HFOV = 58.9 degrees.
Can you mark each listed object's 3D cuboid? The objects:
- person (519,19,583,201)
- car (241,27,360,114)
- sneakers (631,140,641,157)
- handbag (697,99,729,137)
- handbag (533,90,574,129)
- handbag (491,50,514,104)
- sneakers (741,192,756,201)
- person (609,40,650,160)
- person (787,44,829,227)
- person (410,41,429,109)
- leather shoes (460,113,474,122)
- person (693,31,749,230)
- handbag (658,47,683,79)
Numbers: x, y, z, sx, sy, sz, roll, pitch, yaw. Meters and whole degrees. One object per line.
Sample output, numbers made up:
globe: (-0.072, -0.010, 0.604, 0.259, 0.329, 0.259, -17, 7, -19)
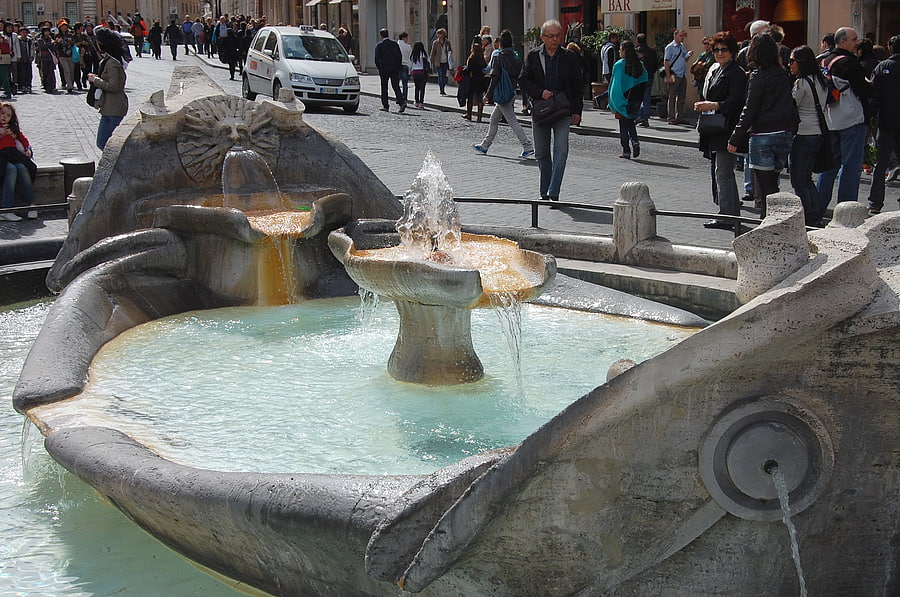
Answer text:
person: (1.447, -2.664, 11.587, 0.856, 2.625, 0.879, 7, 16, 30)
car: (-4.626, -7.254, 24.725, 2.566, 2.305, 3.498, -6, 17, -30)
sneakers: (3.806, -3.027, 16.361, 0.123, 0.395, 0.175, 0, 34, -7)
handbag: (3.286, -2.264, 10.001, 0.414, 0.531, 0.175, -3, -1, 12)
handbag: (1.392, -2.658, 11.214, 0.432, 0.462, 0.330, -19, 36, 11)
handbag: (1.006, -4.282, 15.487, 0.411, 1.018, 0.651, 2, 13, 3)
sneakers: (4.422, -1.520, 11.925, 0.073, 0.126, 0.158, -15, 19, -40)
person: (3.511, -3.969, 16.142, 0.914, 2.310, 0.953, -7, 12, -30)
person: (4.368, -2.013, 9.809, 0.577, 2.102, 0.806, 7, 14, 23)
person: (-1.032, -7.149, 25.508, 0.578, 2.052, 1.371, 1, 13, -2)
leather shoes: (0.465, -5.130, 22.657, 0.165, 0.206, 0.451, -10, 35, -35)
person: (3.379, -2.219, 10.068, 0.589, 2.149, 1.005, 5, 13, 15)
handbag: (5.698, -6.030, 20.456, 0.492, 0.935, 0.804, 17, 35, 40)
